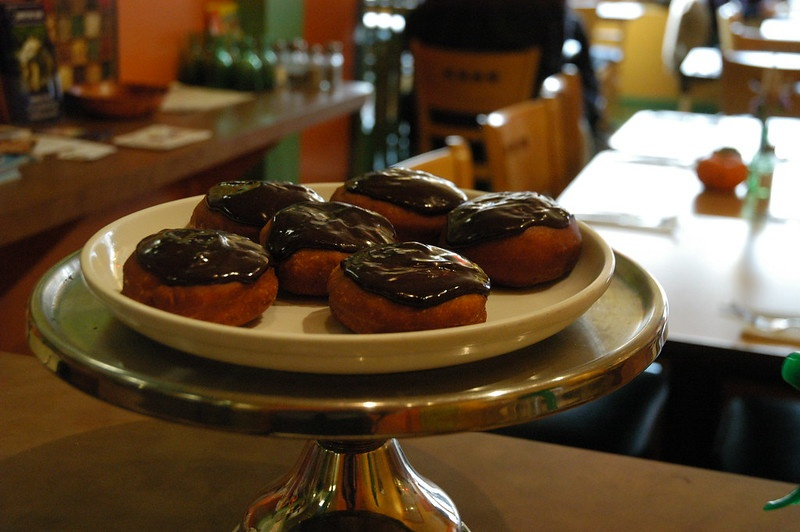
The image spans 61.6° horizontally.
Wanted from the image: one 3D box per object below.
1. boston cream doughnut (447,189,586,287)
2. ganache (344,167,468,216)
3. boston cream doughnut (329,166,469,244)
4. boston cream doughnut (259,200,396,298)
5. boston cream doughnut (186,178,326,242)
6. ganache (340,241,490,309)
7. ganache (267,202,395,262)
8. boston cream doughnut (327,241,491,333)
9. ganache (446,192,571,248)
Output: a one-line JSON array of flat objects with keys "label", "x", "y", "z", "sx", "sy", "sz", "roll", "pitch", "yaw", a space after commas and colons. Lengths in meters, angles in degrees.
[{"label": "boston cream doughnut", "x": 0.115, "y": -0.027, "z": 0.704, "sx": 0.156, "sy": 0.089, "sz": 0.141, "roll": -3, "pitch": 14, "yaw": 1}, {"label": "ganache", "x": 0.011, "y": -0.087, "z": 0.723, "sx": 0.077, "sy": 0.023, "sz": 0.081, "roll": 13, "pitch": 1, "yaw": -35}, {"label": "boston cream doughnut", "x": -0.006, "y": -0.064, "z": 0.771, "sx": 0.155, "sy": 0.080, "sz": 0.151, "roll": 7, "pitch": 22, "yaw": -2}, {"label": "boston cream doughnut", "x": -0.065, "y": -0.028, "z": 0.622, "sx": 0.103, "sy": 0.051, "sz": 0.098, "roll": 6, "pitch": 15, "yaw": -5}, {"label": "boston cream doughnut", "x": -0.147, "y": -0.063, "z": 0.672, "sx": 0.087, "sy": 0.027, "sz": 0.077, "roll": 13, "pitch": 20, "yaw": 28}, {"label": "ganache", "x": 0.019, "y": 0.002, "z": 0.604, "sx": 0.129, "sy": 0.040, "sz": 0.138, "roll": -6, "pitch": 17, "yaw": -36}, {"label": "ganache", "x": -0.060, "y": -0.045, "z": 0.667, "sx": 0.114, "sy": 0.040, "sz": 0.125, "roll": -9, "pitch": -12, "yaw": -31}, {"label": "boston cream doughnut", "x": 0.007, "y": 0.020, "z": 0.553, "sx": 0.095, "sy": 0.046, "sz": 0.091, "roll": 2, "pitch": 2, "yaw": 16}, {"label": "ganache", "x": 0.114, "y": -0.055, "z": 0.721, "sx": 0.152, "sy": 0.045, "sz": 0.155, "roll": 0, "pitch": 17, "yaw": 1}]
